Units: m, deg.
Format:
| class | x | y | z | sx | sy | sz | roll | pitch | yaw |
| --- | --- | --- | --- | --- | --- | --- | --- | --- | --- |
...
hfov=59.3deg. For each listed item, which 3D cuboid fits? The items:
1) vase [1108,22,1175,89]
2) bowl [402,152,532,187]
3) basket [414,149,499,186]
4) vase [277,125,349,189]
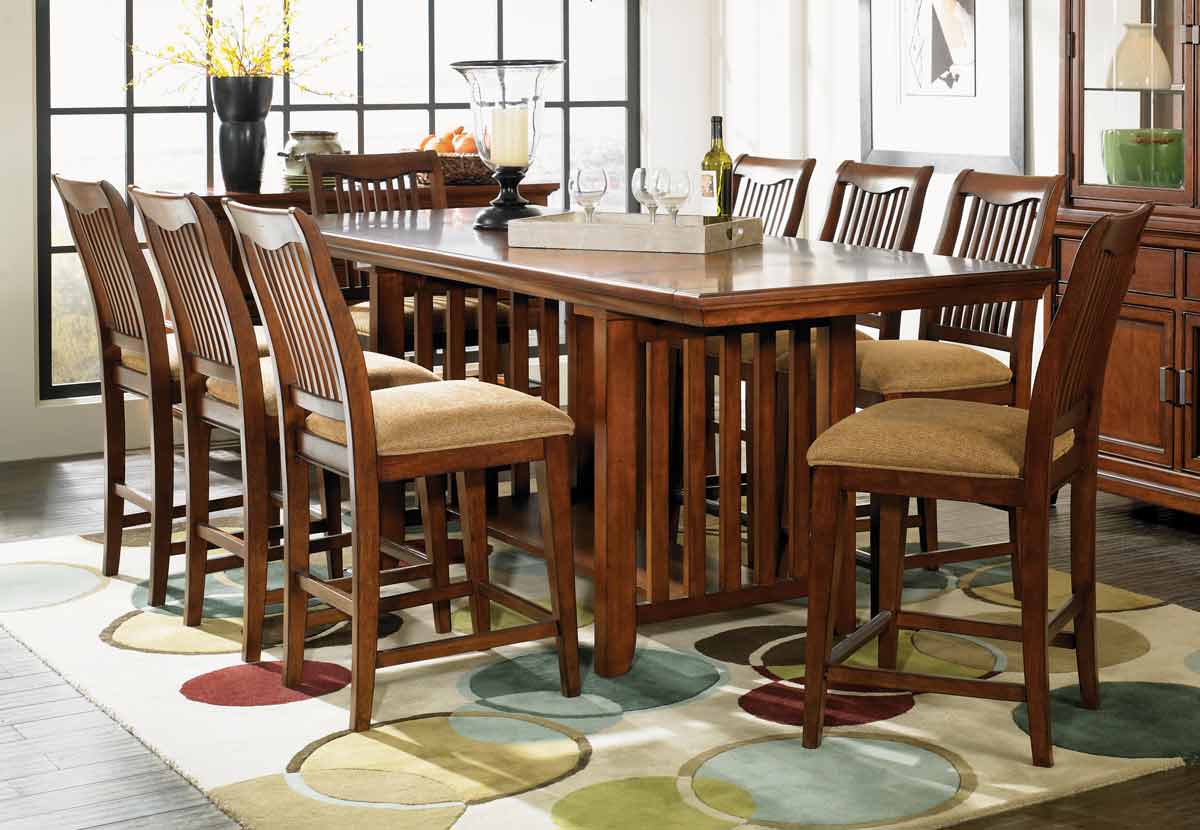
| class | x | y | z | sx | sy | sz | roll | pitch | yaw |
| --- | --- | --- | --- | --- | --- | --- | --- | --- | --- |
| vase | 1.936 | -1.315 | 3.914 | 0.318 | 0.201 | 0.269 | 0 | 8 | 16 |
| bowl | -0.657 | -1.187 | 5.104 | 0.607 | 0.159 | 0.559 | 0 | 5 | 0 |
| basket | -0.650 | -1.184 | 5.055 | 0.348 | 0.089 | 0.307 | 1 | 9 | 7 |
| vase | -1.322 | -1.247 | 5.120 | 0.474 | 0.214 | 0.306 | -3 | 15 | -9 |
